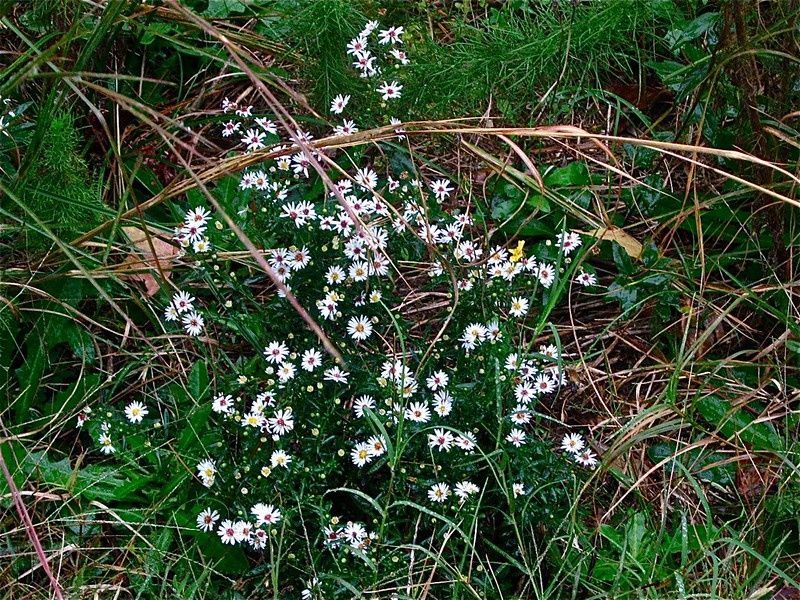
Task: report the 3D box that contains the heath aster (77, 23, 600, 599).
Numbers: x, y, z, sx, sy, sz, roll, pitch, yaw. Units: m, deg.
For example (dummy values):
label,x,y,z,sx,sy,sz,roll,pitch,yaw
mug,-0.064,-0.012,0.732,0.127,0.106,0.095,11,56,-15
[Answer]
label,x,y,z,sx,sy,sz,roll,pitch,yaw
heath aster,0.028,0.152,3.746,1.720,1.157,2.202,4,75,1
